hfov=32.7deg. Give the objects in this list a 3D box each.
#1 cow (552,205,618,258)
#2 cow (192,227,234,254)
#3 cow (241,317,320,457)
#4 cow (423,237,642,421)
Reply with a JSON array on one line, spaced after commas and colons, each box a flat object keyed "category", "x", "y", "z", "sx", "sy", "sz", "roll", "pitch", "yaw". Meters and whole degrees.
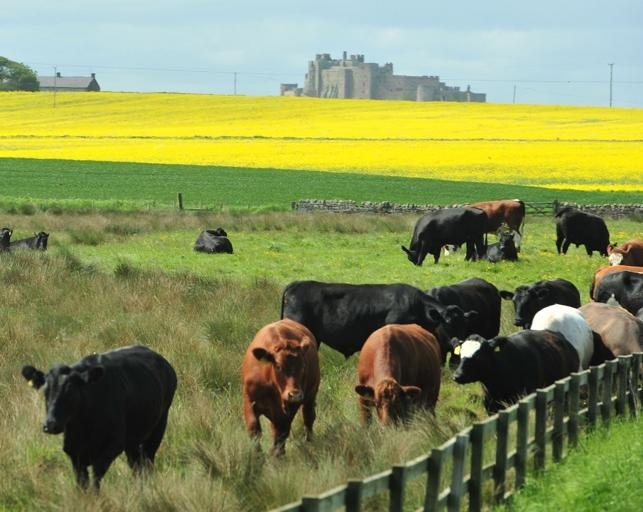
[{"category": "cow", "x": 8.762, "y": -0.678, "z": 36.170, "sx": 2.154, "sy": 1.575, "sz": 0.755, "roll": 7, "pitch": 7, "yaw": -18}, {"category": "cow", "x": -3.421, "y": -0.443, "z": 34.402, "sx": 1.397, "sy": 0.665, "sz": 1.101, "roll": 5, "pitch": 11, "yaw": 35}, {"category": "cow", "x": -0.708, "y": 2.310, "z": 18.921, "sx": 1.319, "sy": 1.986, "sz": 1.766, "roll": -2, "pitch": 8, "yaw": -8}, {"category": "cow", "x": 3.604, "y": 1.668, "z": 20.399, "sx": 1.527, "sy": 3.292, "sz": 5.132, "roll": -6, "pitch": -6, "yaw": 30}]
